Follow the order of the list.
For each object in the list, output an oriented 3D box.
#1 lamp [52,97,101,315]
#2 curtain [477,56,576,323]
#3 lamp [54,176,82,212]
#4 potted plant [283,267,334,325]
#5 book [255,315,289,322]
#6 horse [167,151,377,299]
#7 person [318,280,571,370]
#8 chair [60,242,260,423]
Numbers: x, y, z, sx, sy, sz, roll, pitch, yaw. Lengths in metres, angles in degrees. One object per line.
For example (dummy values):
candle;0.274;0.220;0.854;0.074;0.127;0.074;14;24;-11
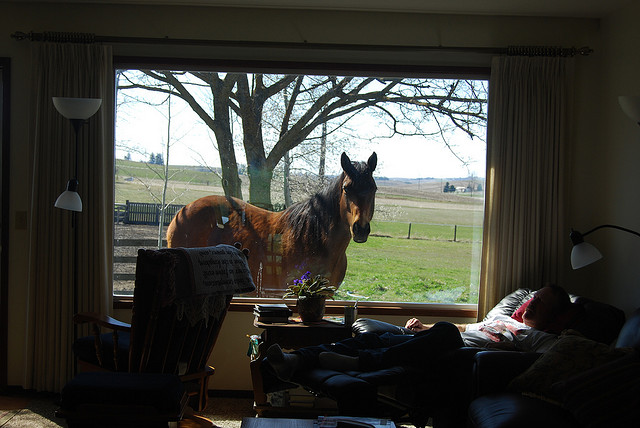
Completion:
lamp;-2.117;-0.064;4.900;0.375;1.889;0.421;2;3;-5
curtain;1.951;-0.221;5.197;0.806;2.494;0.192;3;3;6
lamp;-2.139;-0.166;4.732;0.173;0.265;0.216;5;4;41
potted plant;-0.065;0.717;4.950;0.392;0.429;0.408;3;2;-11
book;-0.422;0.920;4.866;0.280;0.048;0.076;3;3;-1
horse;-0.500;0.335;6.340;2.769;1.872;0.825;4;16;37
person;1.097;0.984;4.527;1.698;0.537;0.838;-1;-12;-8
chair;-1.404;0.945;4.609;1.608;1.596;1.115;-10;-15;41
